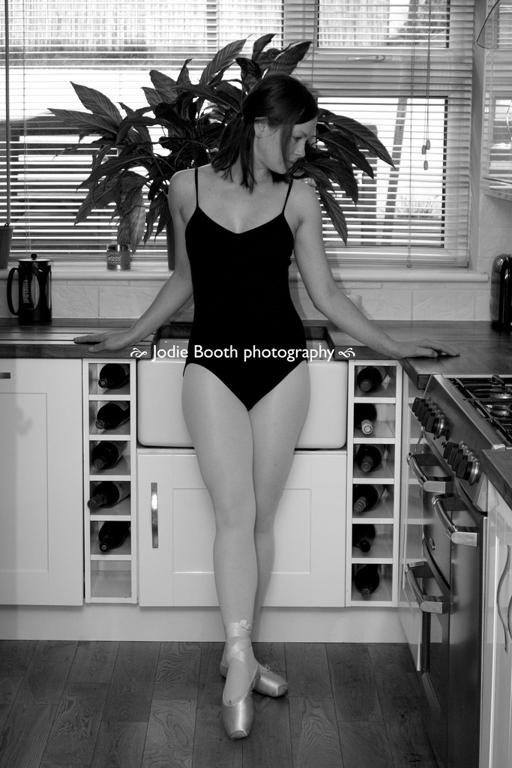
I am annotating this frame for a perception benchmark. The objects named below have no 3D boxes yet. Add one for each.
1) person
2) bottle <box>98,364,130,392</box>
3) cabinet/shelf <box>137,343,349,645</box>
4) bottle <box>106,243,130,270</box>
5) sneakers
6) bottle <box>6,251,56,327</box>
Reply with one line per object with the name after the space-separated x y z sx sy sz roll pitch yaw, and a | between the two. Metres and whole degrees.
-0.044 0.042 1.622 0.831 1.505 0.433 9 15 23 | person
-0.420 -0.022 1.992 0.055 0.108 0.098 7 8 11 | bottle
-0.071 0.313 2.212 0.810 1.155 0.566 0 12 -1 | cabinet/shelf
-0.510 -0.462 2.482 0.078 0.130 0.087 5 25 6 | bottle
0.001 0.665 1.620 0.168 0.249 0.291 1 1 -3 | sneakers
-0.755 -0.308 2.258 0.128 0.282 0.244 4 15 7 | bottle
